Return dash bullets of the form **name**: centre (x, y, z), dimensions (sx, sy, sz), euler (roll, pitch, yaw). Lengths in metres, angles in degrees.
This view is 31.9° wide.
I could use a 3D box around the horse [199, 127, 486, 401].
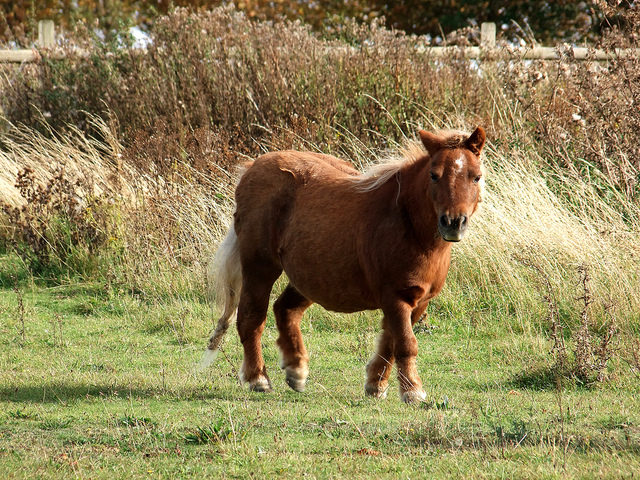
- **horse**: centre (0.290, 0.283, 13.447), dimensions (3.704, 3.322, 1.502), euler (2, 4, 32)
